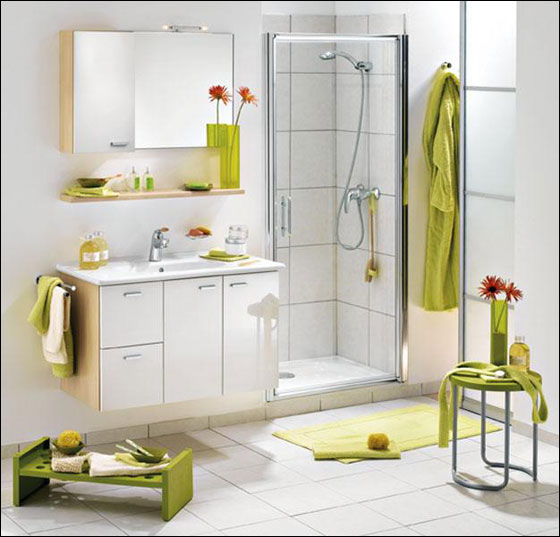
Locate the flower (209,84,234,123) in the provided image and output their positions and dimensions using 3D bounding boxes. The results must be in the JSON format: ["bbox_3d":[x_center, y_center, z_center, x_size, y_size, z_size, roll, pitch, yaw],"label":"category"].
[{"bbox_3d":[-0.331,-0.906,3.392,0.141,0.197,0.155,-1,-3,15],"label":"flower"}]

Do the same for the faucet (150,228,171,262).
[{"bbox_3d":[-0.643,-0.131,3.324,0.099,0.180,0.273,-1,3,-9],"label":"faucet"}]

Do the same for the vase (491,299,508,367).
[{"bbox_3d":[0.987,0.289,2.799,0.073,0.307,0.184,1,3,19],"label":"vase"}]

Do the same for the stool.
[{"bbox_3d":[0.975,0.734,2.811,0.396,0.416,0.379,6,-6,-22],"label":"stool"}]

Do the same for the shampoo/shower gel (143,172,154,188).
[{"bbox_3d":[-0.697,-0.471,3.313,0.058,0.112,0.118,-1,3,-12],"label":"shampoo/shower gel"}]

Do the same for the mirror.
[{"bbox_3d":[-0.621,-0.918,3.175,0.205,0.689,0.845,3,4,45],"label":"mirror"}]

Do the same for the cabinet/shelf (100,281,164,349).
[{"bbox_3d":[-0.713,0.184,2.949,0.365,0.307,0.281,-3,5,-36],"label":"cabinet/shelf"}]

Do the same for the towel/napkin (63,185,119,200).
[{"bbox_3d":[-0.930,-0.375,3.060,0.265,0.064,0.094,-1,3,-16],"label":"towel/napkin"}]

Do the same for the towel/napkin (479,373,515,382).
[{"bbox_3d":[0.923,0.462,2.656,0.123,0.033,0.111,0,3,2],"label":"towel/napkin"}]

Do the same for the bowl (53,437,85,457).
[{"bbox_3d":[-0.912,0.774,2.658,0.110,0.036,0.106,-3,-4,0],"label":"bowl"}]

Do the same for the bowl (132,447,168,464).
[{"bbox_3d":[-0.528,0.778,2.556,0.089,0.019,0.075,-1,3,-35],"label":"bowl"}]

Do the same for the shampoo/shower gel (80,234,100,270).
[{"bbox_3d":[-0.928,-0.081,3.023,0.091,0.165,0.074,-1,3,-15],"label":"shampoo/shower gel"}]

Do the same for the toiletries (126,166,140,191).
[{"bbox_3d":[-0.760,-0.474,3.265,0.084,0.132,0.096,-2,3,-26],"label":"toiletries"}]

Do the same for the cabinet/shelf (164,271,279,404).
[{"bbox_3d":[-0.428,0.335,3.284,0.712,0.601,0.518,-2,3,-43],"label":"cabinet/shelf"}]

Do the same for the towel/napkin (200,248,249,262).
[{"bbox_3d":[-0.326,-0.071,3.355,0.303,0.062,0.144,2,4,30],"label":"towel/napkin"}]

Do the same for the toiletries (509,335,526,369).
[{"bbox_3d":[1.064,0.368,2.771,0.080,0.138,0.133,1,3,21],"label":"toiletries"}]

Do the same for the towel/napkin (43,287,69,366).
[{"bbox_3d":[-1.022,0.251,2.833,0.098,0.378,0.348,-3,11,-31],"label":"towel/napkin"}]
